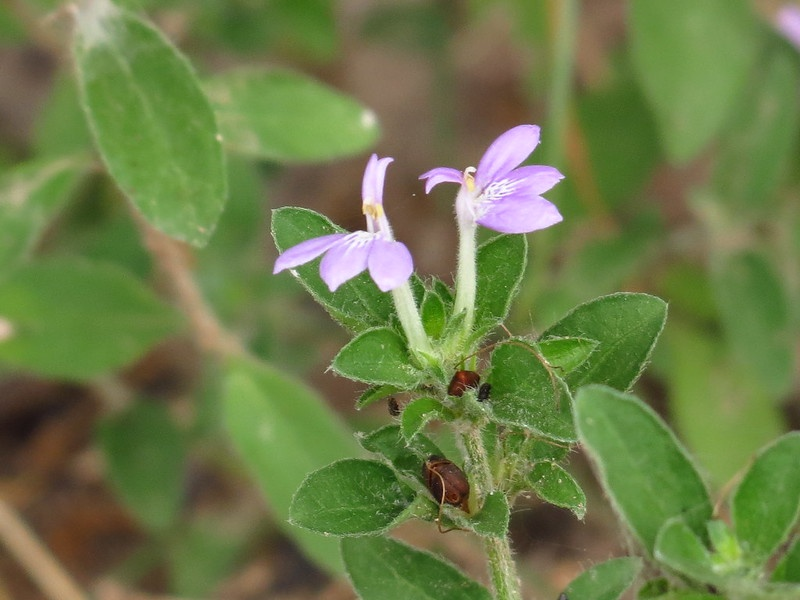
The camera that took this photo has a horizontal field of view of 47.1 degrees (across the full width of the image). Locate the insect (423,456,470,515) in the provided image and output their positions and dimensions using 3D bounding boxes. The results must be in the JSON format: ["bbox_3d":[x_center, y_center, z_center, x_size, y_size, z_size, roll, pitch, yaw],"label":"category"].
[{"bbox_3d":[0.079,0.317,1.644,0.058,0.038,0.104,-27,77,-22],"label":"insect"}]

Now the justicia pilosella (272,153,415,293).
[{"bbox_3d":[-0.106,-0.089,1.633,0.224,0.190,0.338,-10,57,-4],"label":"justicia pilosella"}]

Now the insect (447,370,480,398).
[{"bbox_3d":[0.112,0.148,1.596,0.060,0.037,0.042,-5,56,0],"label":"insect"}]

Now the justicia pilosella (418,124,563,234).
[{"bbox_3d":[0.165,-0.187,1.601,0.189,0.095,0.241,-10,72,42],"label":"justicia pilosella"}]

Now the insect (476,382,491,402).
[{"bbox_3d":[0.142,0.157,1.591,0.017,0.013,0.034,18,96,4],"label":"insect"}]

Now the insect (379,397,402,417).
[{"bbox_3d":[-0.014,0.208,1.788,0.025,0.019,0.044,-12,98,26],"label":"insect"}]
